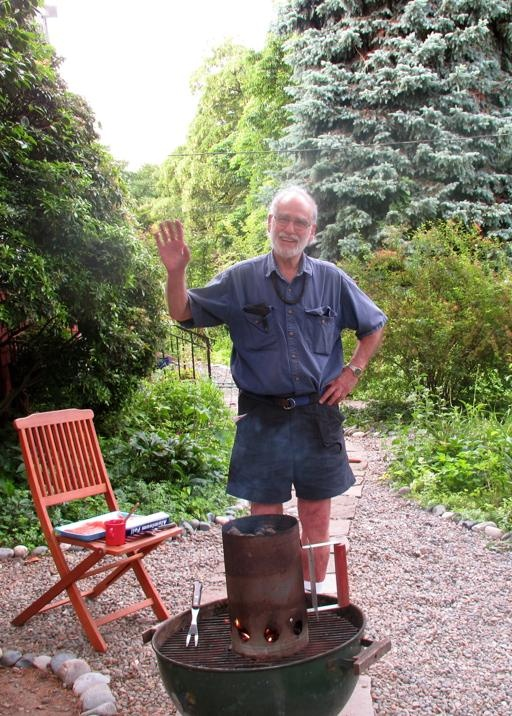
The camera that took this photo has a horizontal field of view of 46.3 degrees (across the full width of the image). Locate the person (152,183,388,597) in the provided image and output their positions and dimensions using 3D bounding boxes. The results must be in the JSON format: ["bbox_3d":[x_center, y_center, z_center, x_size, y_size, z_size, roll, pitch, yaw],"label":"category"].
[{"bbox_3d":[0.101,0.035,2.410,0.948,1.430,0.398,-2,4,-7],"label":"person"}]

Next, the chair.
[{"bbox_3d":[-0.746,0.798,2.872,0.698,0.987,0.574,5,1,19],"label":"chair"}]

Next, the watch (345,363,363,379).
[{"bbox_3d":[0.412,0.059,2.492,0.046,0.074,0.068,-57,24,-19],"label":"watch"}]

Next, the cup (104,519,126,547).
[{"bbox_3d":[-0.587,0.742,2.513,0.096,0.087,0.093,0,-4,0],"label":"cup"}]
